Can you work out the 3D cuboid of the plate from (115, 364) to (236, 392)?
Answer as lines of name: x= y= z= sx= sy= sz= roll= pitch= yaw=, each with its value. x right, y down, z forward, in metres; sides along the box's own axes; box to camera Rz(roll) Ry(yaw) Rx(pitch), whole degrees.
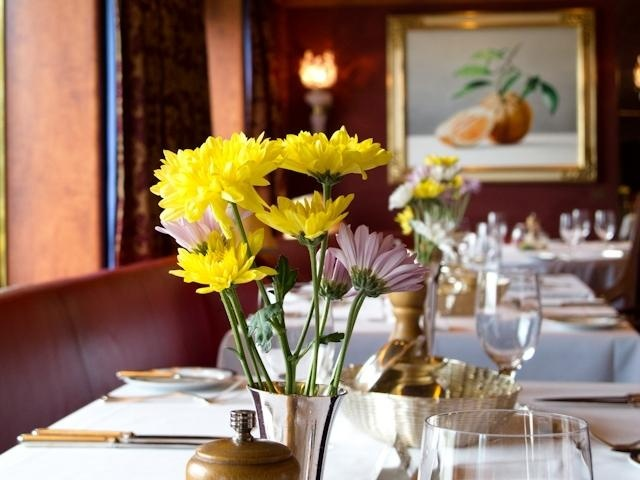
plate: x=-0.238 y=0.213 z=1.067 sx=0.154 sy=0.047 sz=0.182 roll=3 pitch=2 yaw=9

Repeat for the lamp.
lamp: x=-0.019 y=-1.172 z=4.791 sx=0.313 sy=0.614 sz=0.173 roll=-2 pitch=10 yaw=0

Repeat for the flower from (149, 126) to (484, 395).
flower: x=-0.037 y=0.038 z=0.626 sx=0.236 sy=0.295 sz=0.209 roll=-8 pitch=11 yaw=-32

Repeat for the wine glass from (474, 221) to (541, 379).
wine glass: x=0.269 y=0.088 z=0.874 sx=0.056 sy=0.196 sz=0.067 roll=2 pitch=7 yaw=5

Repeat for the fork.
fork: x=-0.229 y=0.248 z=0.987 sx=0.134 sy=0.023 sz=0.014 roll=4 pitch=29 yaw=-13
